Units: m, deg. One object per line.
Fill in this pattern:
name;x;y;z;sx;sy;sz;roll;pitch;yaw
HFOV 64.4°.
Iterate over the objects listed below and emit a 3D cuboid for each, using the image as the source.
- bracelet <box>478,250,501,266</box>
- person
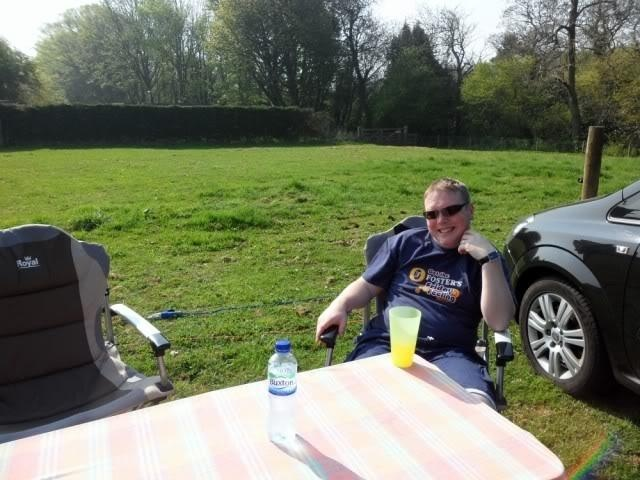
bracelet;1.100;0.114;3.306;0.118;0.086;0.108;-37;-29;31
person;0.764;0.270;3.927;1.090;1.910;1.439;8;-4;29
